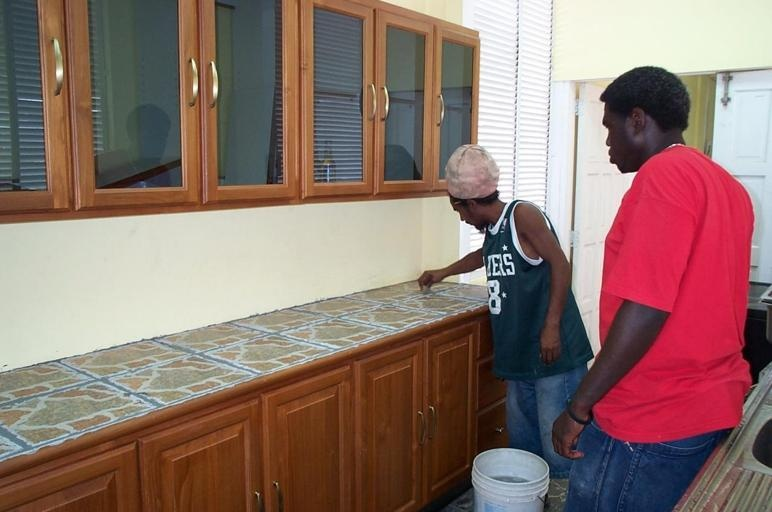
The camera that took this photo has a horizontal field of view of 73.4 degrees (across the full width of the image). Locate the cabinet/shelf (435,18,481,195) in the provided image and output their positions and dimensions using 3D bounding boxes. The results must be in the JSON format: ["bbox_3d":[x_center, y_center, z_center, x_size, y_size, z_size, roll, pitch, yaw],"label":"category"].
[{"bbox_3d":[0.369,-0.822,2.920,0.132,0.845,0.441,12,18,36],"label":"cabinet/shelf"}]

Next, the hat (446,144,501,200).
[{"bbox_3d":[0.401,-0.410,2.521,0.238,0.239,0.255,-10,24,-3],"label":"hat"}]

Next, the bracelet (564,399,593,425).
[{"bbox_3d":[0.581,0.467,1.576,0.074,0.093,0.025,-11,5,3],"label":"bracelet"}]
